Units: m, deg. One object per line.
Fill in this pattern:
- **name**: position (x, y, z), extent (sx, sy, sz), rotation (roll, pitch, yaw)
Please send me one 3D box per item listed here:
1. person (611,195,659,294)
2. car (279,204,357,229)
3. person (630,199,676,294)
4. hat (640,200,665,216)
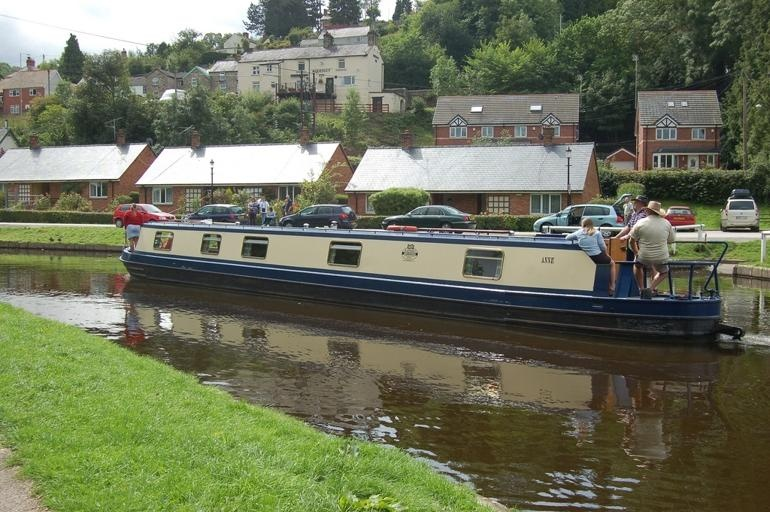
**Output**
- **person**: position (8.171, -0.405, 31.139), extent (1.189, 3.061, 1.096), rotation (2, 7, 19)
- **car**: position (-3.687, -2.116, 50.144), extent (4.144, 1.262, 1.801), rotation (2, 2, 7)
- **person**: position (8.631, -0.273, 30.345), extent (1.332, 3.155, 0.971), rotation (5, 16, 14)
- **hat**: position (8.626, -1.532, 30.029), extent (0.468, 0.520, 0.973), rotation (5, 15, 14)
